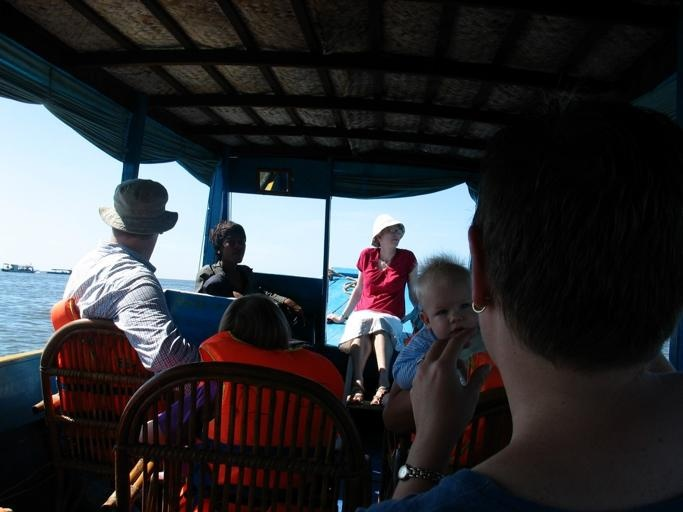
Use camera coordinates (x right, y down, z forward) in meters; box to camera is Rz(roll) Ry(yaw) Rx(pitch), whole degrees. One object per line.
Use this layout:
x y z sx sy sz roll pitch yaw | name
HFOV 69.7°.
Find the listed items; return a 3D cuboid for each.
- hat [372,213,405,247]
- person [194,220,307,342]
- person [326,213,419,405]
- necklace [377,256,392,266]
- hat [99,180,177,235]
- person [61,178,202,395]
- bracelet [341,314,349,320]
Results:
0.426 -0.299 4.794 0.261 0.191 0.296 0 -34 -9 | hat
-0.876 0.252 4.654 0.871 1.173 1.050 -4 2 -36 | person
0.295 0.352 4.509 1.039 1.680 1.213 0 -5 18 | person
0.407 0.045 4.738 0.088 0.090 0.023 3 -5 19 | necklace
-1.274 -0.367 3.126 0.498 0.313 0.575 3 20 -28 | hat
-1.200 0.154 2.830 0.814 1.195 0.626 19 15 19 | person
0.036 0.643 5.194 0.066 0.068 0.026 -11 31 -38 | bracelet
